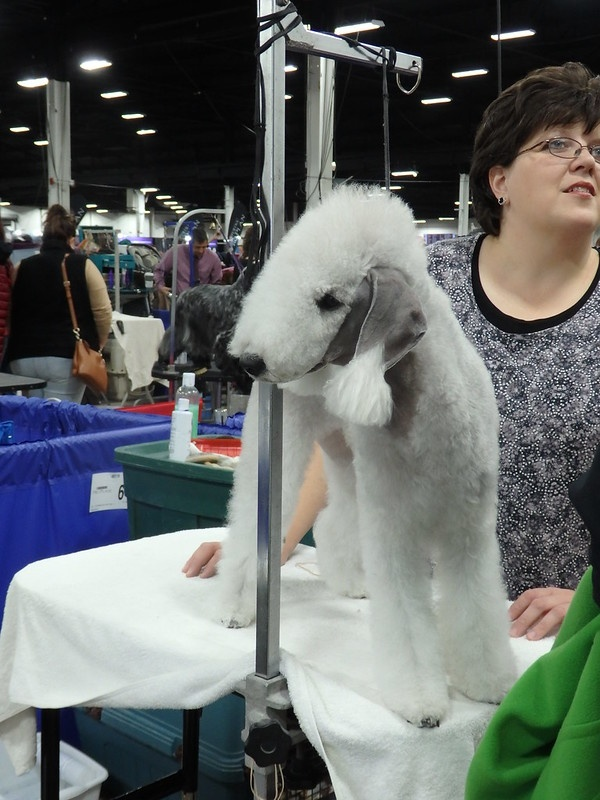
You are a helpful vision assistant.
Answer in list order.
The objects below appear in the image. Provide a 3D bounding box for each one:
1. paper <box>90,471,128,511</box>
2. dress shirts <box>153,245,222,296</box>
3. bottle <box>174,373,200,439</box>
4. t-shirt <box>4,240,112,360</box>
[{"bbox_3d":[-0.650,0.305,2.737,0.020,0.133,0.209,1,1,29],"label":"paper"},{"bbox_3d":[-0.999,-1.145,7.220,0.625,0.298,0.530,3,-36,-11],"label":"dress shirts"},{"bbox_3d":[-0.420,0.030,3.063,0.098,0.240,0.084,4,8,6],"label":"bottle"},{"bbox_3d":[-1.360,-0.539,4.472,0.587,0.631,0.232,-6,9,-13],"label":"t-shirt"}]
